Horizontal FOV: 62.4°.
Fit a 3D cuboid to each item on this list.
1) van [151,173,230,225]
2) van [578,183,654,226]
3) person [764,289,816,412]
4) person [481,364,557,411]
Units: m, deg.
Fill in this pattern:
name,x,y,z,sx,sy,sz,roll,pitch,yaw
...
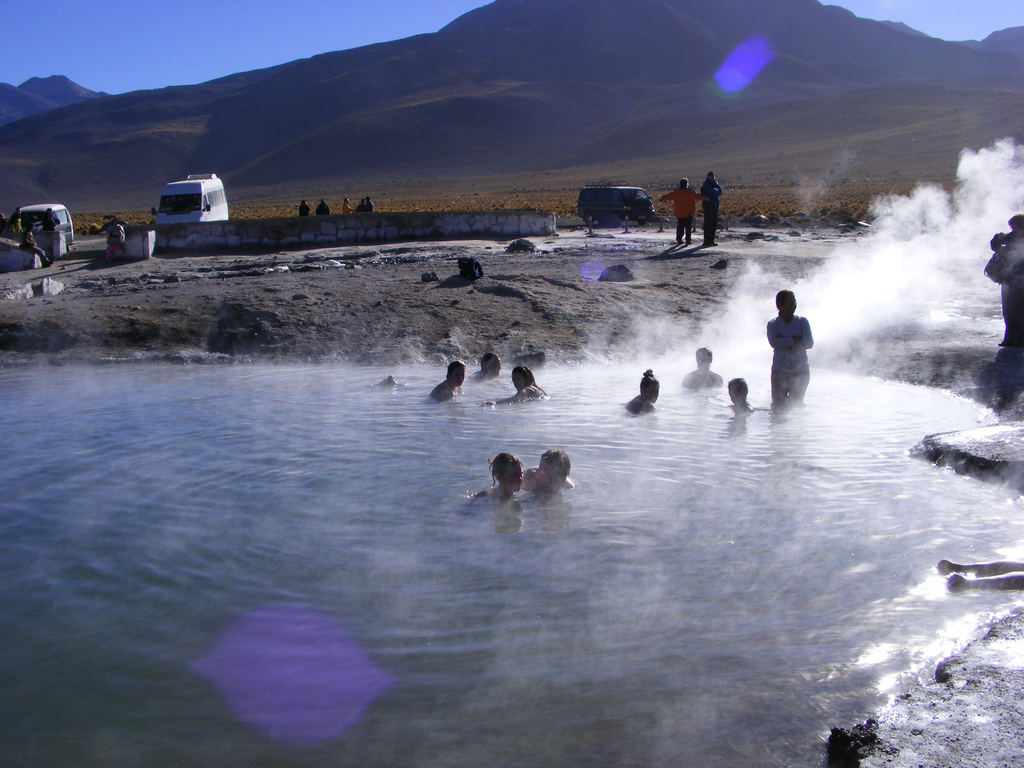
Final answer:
name,x,y,z,sx,sy,sz,roll,pitch,yaw
van,-11.169,-6.704,30.313,2.158,1.981,5.965,-1,8,-7
van,3.945,-6.967,32.750,2.953,1.494,1.764,-1,15,3
person,3.344,-0.429,10.205,0.484,1.387,0.531,2,9,16
person,0.058,0.021,10.414,0.773,0.484,0.369,0,8,2
